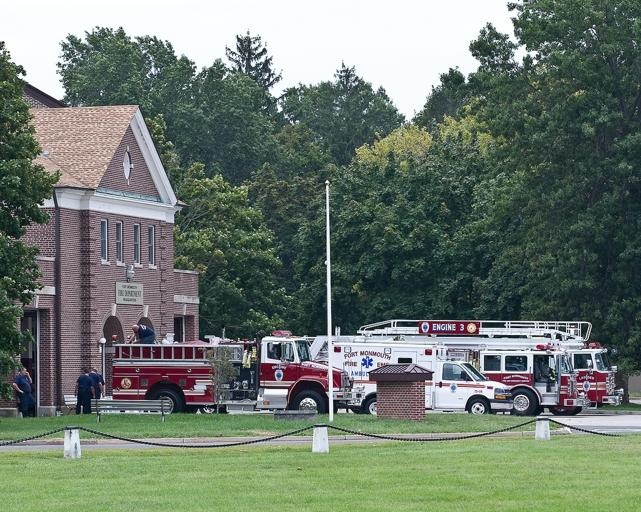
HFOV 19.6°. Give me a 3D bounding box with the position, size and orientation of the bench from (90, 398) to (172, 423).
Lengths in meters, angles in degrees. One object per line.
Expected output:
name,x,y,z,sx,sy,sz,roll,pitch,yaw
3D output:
bench,-7.507,6.188,75.267,2.877,0.840,1.916,-1,-5,3

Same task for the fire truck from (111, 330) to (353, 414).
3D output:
fire truck,-3.934,5.452,77.667,10.341,3.615,3.811,-1,-1,5

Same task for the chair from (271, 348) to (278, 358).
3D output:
chair,-1.870,3.984,76.493,0.191,0.518,0.251,-2,3,16

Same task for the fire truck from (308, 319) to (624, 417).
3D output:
fire truck,7.984,5.450,81.284,13.265,4.420,5.225,-1,-1,12
